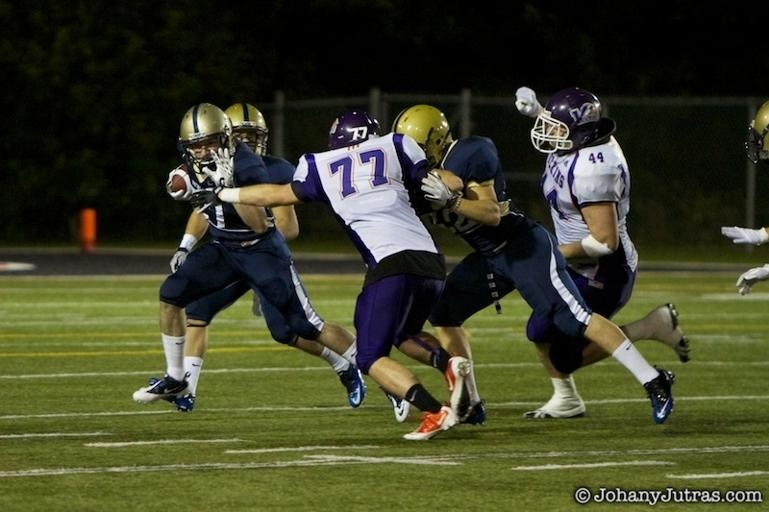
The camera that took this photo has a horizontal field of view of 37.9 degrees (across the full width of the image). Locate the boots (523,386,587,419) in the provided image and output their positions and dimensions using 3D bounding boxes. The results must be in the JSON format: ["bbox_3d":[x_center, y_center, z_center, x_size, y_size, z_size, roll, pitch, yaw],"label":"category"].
[{"bbox_3d":[1.300,1.191,8.990,0.588,0.256,0.192,-1,-2,-2],"label":"boots"}]

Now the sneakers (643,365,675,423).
[{"bbox_3d":[2.134,1.083,8.735,0.215,0.458,0.281,4,11,16],"label":"sneakers"}]

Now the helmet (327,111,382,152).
[{"bbox_3d":[-0.229,-1.001,8.601,0.433,0.287,0.306,-14,24,-29],"label":"helmet"}]

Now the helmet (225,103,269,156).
[{"bbox_3d":[-1.268,-1.145,10.039,0.431,0.435,0.493,-3,17,-16],"label":"helmet"}]

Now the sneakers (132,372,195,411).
[{"bbox_3d":[-1.755,1.077,8.943,0.611,0.196,0.284,9,-38,-31],"label":"sneakers"}]

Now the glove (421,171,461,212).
[{"bbox_3d":[0.414,-0.480,8.288,0.250,0.290,0.264,3,10,15],"label":"glove"}]

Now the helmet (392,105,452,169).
[{"bbox_3d":[0.239,-0.970,8.802,0.424,0.435,0.527,5,16,43],"label":"helmet"}]

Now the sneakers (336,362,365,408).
[{"bbox_3d":[-0.233,1.052,9.210,0.208,0.404,0.149,-5,-21,-42],"label":"sneakers"}]

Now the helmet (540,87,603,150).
[{"bbox_3d":[1.486,-1.110,8.967,0.650,0.434,0.445,-12,16,-8],"label":"helmet"}]

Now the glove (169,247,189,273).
[{"bbox_3d":[-1.703,0.029,9.189,0.084,0.200,0.198,36,-26,-20],"label":"glove"}]
